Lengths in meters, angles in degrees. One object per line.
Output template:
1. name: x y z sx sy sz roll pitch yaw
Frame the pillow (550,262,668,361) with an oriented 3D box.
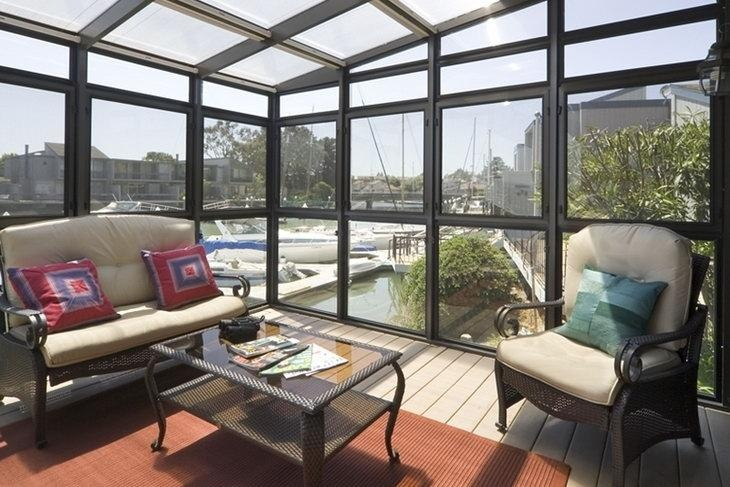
1. pillow: 1.920 0.522 3.639 0.194 0.607 0.634 29 -2 -30

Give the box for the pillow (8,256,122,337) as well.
1. pillow: -2.595 0.439 4.011 0.549 0.522 0.613 5 12 38

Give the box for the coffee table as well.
1. coffee table: -0.553 0.630 3.358 1.533 0.795 1.019 6 11 33

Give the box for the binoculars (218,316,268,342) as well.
1. binoculars: -0.993 0.696 3.744 0.220 0.081 0.217 -2 9 -28

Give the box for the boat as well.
1. boat: -0.971 0.203 6.021 2.142 0.511 0.593 -1 5 -8

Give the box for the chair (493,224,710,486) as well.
1. chair: 1.771 0.755 4.370 1.846 2.311 1.672 3 -4 -35
